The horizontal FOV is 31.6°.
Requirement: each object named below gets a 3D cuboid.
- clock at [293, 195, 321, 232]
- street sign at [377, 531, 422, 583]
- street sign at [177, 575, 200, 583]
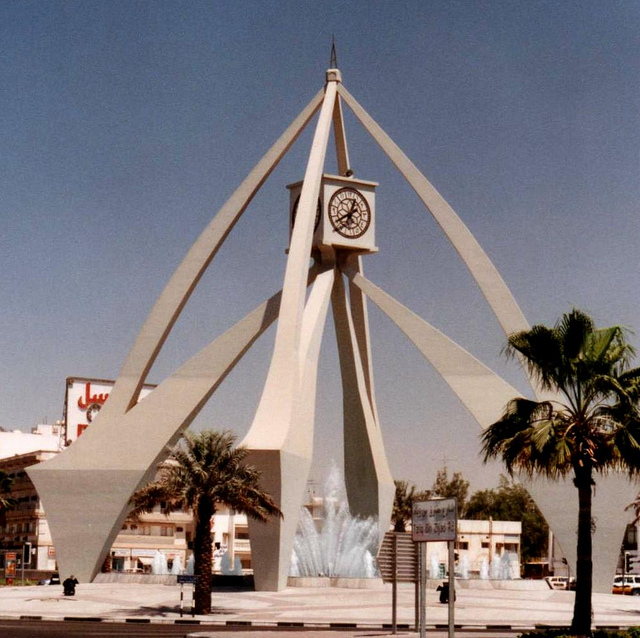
[{"bbox_3d":[-0.512,-4.325,46.546,1.501,1.420,0.549,-6,-18,25],"label":"clock"},{"bbox_3d":[1.887,5.568,26.175,1.451,1.119,0.194,16,-23,-42],"label":"street sign"},{"bbox_3d":[-3.607,7.118,31.038,0.405,0.242,1.185,-3,-15,16],"label":"street sign"}]
